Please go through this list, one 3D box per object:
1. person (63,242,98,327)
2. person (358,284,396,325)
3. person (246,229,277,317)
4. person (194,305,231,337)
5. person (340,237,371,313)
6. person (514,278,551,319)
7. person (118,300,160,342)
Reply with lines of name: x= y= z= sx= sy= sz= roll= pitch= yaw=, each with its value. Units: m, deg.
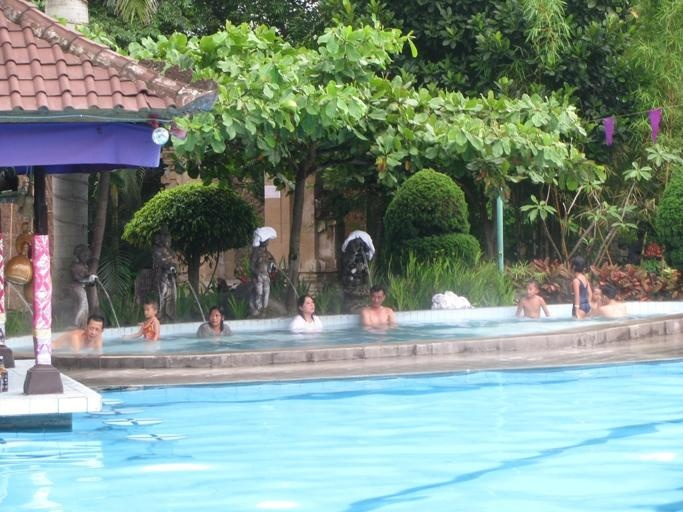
person: x=-4.328 y=0.460 z=21.173 sx=0.460 sy=1.271 sz=0.831 roll=-2 pitch=12 yaw=-12
person: x=0.600 y=0.859 z=22.683 sx=0.572 sy=0.814 sz=0.648 roll=1 pitch=1 yaw=-4
person: x=-1.459 y=0.225 z=23.045 sx=0.448 sy=1.508 sz=0.970 roll=0 pitch=12 yaw=-2
person: x=-2.147 y=1.145 z=21.056 sx=0.636 sy=0.725 sz=0.407 roll=1 pitch=-3 yaw=-12
person: x=0.271 y=0.299 z=23.507 sx=0.472 sy=1.667 sz=0.495 roll=-3 pitch=28 yaw=0
person: x=3.575 y=0.824 z=24.010 sx=0.541 sy=1.145 sz=0.313 roll=-1 pitch=2 yaw=7
person: x=-3.289 y=1.079 z=20.668 sx=0.565 sy=0.850 sz=0.522 roll=0 pitch=-1 yaw=-11
